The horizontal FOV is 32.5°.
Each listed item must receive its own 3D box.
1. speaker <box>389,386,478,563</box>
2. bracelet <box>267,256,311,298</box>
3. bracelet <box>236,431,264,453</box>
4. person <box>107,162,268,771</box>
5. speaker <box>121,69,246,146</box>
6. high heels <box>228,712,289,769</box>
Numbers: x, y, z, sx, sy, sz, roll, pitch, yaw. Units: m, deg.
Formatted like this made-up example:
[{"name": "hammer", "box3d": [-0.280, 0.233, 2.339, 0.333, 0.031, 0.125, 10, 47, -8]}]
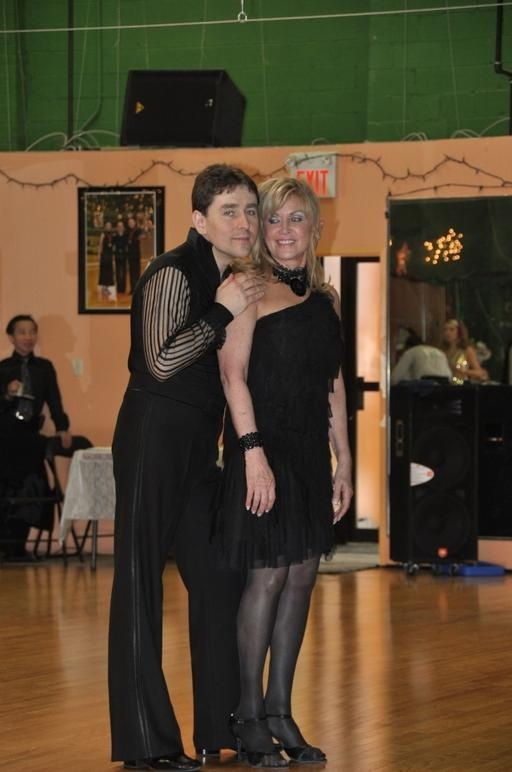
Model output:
[{"name": "speaker", "box3d": [1.176, 0.573, 5.811, 0.550, 1.188, 0.191, -1, -5, 12]}, {"name": "bracelet", "box3d": [0.085, -0.279, 2.198, 0.082, 0.070, 0.079, 14, 11, 34]}, {"name": "bracelet", "box3d": [-0.010, 0.131, 2.023, 0.040, 0.037, 0.049, 0, -15, -8]}, {"name": "person", "box3d": [-0.172, 0.195, 2.107, 0.340, 1.451, 0.375, 1, -5, -10]}, {"name": "speaker", "box3d": [-0.524, -1.971, 6.664, 0.755, 0.529, 0.620, 2, 14, 8]}, {"name": "high heels", "box3d": [0.001, 0.843, 2.078, 0.070, 0.094, 0.208, 0, -11, -29]}]
